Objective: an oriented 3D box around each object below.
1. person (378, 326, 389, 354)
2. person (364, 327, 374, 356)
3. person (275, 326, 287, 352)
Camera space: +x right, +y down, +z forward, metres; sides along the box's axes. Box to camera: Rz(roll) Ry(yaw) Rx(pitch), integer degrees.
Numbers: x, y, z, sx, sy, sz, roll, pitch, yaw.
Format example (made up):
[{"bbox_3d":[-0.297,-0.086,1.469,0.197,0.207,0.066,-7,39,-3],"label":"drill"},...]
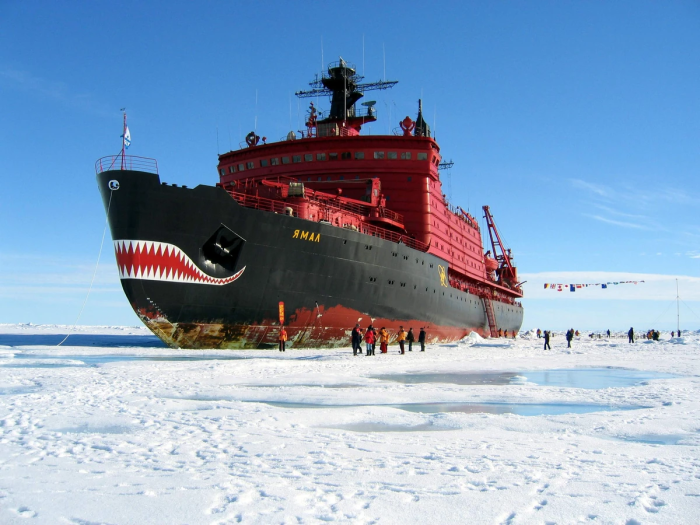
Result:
[{"bbox_3d":[1.474,3.364,24.543,0.329,1.041,0.826,2,-4,-1],"label":"person"},{"bbox_3d":[0.817,3.170,23.155,0.400,1.082,0.796,1,-4,2],"label":"person"},{"bbox_3d":[-2.720,3.017,22.900,0.370,1.051,1.077,2,-4,-4],"label":"person"}]
